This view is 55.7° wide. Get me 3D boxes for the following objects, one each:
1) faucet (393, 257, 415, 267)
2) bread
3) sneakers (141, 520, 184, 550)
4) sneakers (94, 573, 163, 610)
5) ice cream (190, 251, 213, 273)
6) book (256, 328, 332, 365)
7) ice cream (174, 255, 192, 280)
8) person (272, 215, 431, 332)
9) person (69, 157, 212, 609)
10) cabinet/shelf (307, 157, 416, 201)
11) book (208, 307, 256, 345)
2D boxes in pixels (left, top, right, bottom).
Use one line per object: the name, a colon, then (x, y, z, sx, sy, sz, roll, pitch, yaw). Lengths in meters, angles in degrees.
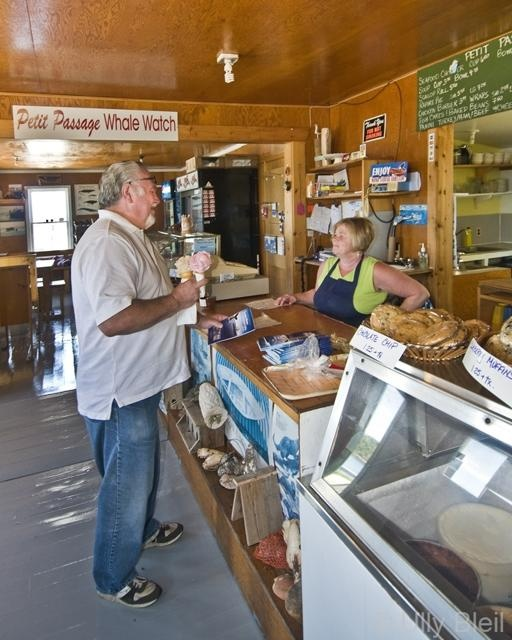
faucet: (1.300, -0.508, 4.261, 0.153, 0.043, 0.140, -2, 10, -6)
bread: (0.386, 0.028, 1.078, 0.262, 0.091, 0.206, 2, 13, 15)
sneakers: (-0.431, 1.011, 2.310, 0.201, 0.085, 0.075, -11, 18, -33)
sneakers: (-0.513, 1.100, 1.967, 0.240, 0.100, 0.098, 0, 7, 2)
ice cream: (-0.279, -0.291, 2.545, 0.117, 0.109, 0.054, 0, -16, 7)
book: (0.173, 0.103, 2.066, 0.328, 0.117, 0.408, -2, 12, 1)
ice cream: (-0.395, -0.287, 2.706, 0.152, 0.154, 0.154, -2, 4, -6)
person: (0.682, -0.235, 3.272, 0.714, 1.065, 0.865, 0, 7, -18)
person: (-0.494, 0.245, 1.953, 0.399, 1.717, 0.500, 7, 16, 35)
cabinet/shelf: (0.974, -1.353, 4.690, 0.394, 0.373, 1.485, -6, 13, -18)
book: (-0.117, 0.038, 2.500, 0.249, 0.024, 0.173, -16, 43, 11)
